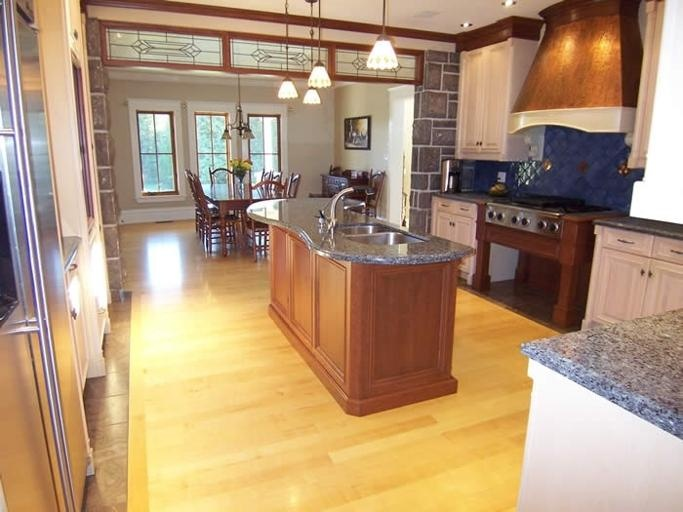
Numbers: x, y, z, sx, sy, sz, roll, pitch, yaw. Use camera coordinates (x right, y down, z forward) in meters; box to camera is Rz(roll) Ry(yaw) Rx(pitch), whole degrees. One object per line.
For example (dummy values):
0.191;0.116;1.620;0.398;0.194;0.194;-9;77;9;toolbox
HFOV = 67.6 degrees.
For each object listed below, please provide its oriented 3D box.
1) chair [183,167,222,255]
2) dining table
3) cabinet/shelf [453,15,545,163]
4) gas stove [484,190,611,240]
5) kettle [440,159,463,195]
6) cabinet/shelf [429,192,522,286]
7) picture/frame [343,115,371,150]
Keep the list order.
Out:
-2.174;-0.683;7.932;0.576;1.117;1.354;-7;23;-21;chair
-0.968;-0.386;7.217;1.718;0.829;0.991;14;-2;7;dining table
1.688;-1.794;5.372;0.520;1.416;1.062;-5;19;-15;cabinet/shelf
1.881;-0.328;4.996;0.606;0.304;0.892;8;8;-44;gas stove
1.306;-0.950;6.019;0.265;0.390;0.209;-3;16;-4;kettle
1.553;-0.244;5.963;0.642;0.900;0.953;0;13;-14;cabinet/shelf
0.274;-2.277;9.455;0.038;0.643;1.049;9;17;29;picture/frame
